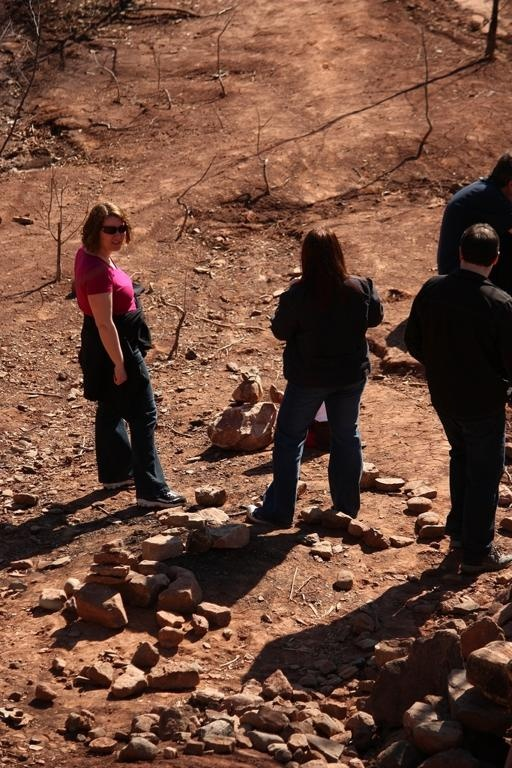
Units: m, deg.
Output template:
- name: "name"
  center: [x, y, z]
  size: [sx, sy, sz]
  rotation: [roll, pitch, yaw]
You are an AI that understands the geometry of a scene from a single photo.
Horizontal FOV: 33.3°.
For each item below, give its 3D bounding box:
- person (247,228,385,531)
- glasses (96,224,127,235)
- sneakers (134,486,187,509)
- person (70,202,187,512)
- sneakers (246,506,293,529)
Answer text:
- name: "person"
  center: [0.294, 0.013, 4.309]
  size: [0.710, 1.566, 0.372]
  rotation: [-3, 15, 3]
- name: "glasses"
  center: [-0.726, -0.812, 4.474]
  size: [0.067, 0.053, 0.195]
  rotation: [3, 14, 25]
- name: "sneakers"
  center: [-0.541, 0.667, 4.989]
  size: [0.312, 0.137, 0.106]
  rotation: [-4, 13, 1]
- name: "person"
  center: [-0.741, -0.137, 4.813]
  size: [0.486, 1.744, 0.627]
  rotation: [-7, 15, -11]
- name: "sneakers"
  center: [0.054, 0.706, 4.549]
  size: [0.259, 0.095, 0.093]
  rotation: [19, 28, 28]
